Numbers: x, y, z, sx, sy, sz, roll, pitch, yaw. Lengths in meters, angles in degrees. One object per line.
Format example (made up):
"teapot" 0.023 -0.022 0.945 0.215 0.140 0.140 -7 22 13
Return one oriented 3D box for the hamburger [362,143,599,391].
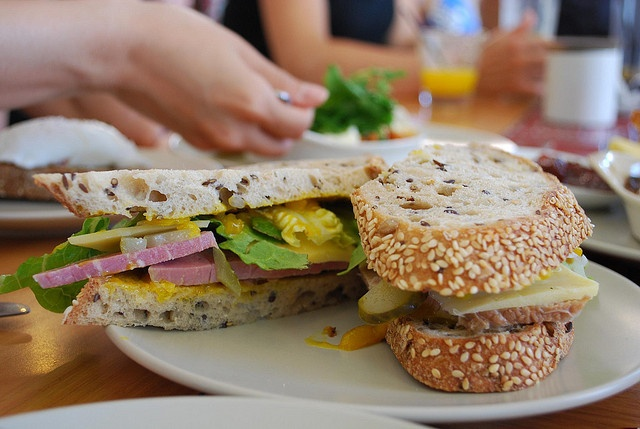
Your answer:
"hamburger" 0.436 0.154 1.555 0.576 0.270 0.699 -3 31 -3
